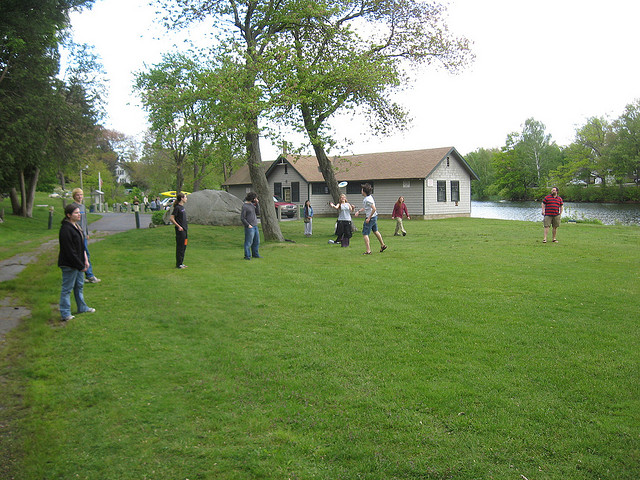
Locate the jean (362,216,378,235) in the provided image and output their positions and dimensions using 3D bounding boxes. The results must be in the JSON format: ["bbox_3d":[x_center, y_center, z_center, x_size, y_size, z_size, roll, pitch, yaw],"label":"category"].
[{"bbox_3d":[1.703,-0.498,17.108,0.439,0.611,0.656,-1,4,1],"label":"jean"}]

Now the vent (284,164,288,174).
[{"bbox_3d":[-3.063,-6.458,46.363,0.082,0.862,0.519,-3,5,-32],"label":"vent"}]

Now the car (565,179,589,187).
[{"bbox_3d":[39.982,-8.730,78.564,2.876,1.189,4.181,3,6,44],"label":"car"}]

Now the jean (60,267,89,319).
[{"bbox_3d":[-4.956,1.029,10.252,0.527,1.059,0.718,-3,5,-25],"label":"jean"}]

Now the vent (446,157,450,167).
[{"bbox_3d":[10.120,-6.122,40.089,0.064,0.733,0.304,3,6,39],"label":"vent"}]

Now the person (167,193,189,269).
[{"bbox_3d":[-4.047,-0.272,14.711,0.435,2.154,1.410,-2,4,-16],"label":"person"}]

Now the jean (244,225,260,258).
[{"bbox_3d":[-2.238,0.049,16.755,0.346,1.039,0.598,1,4,16],"label":"jean"}]

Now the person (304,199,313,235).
[{"bbox_3d":[-0.583,-1.108,25.473,0.310,1.670,0.628,-1,4,-5],"label":"person"}]

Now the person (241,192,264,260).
[{"bbox_3d":[-2.259,-0.456,16.678,0.560,2.118,1.245,0,4,7],"label":"person"}]
